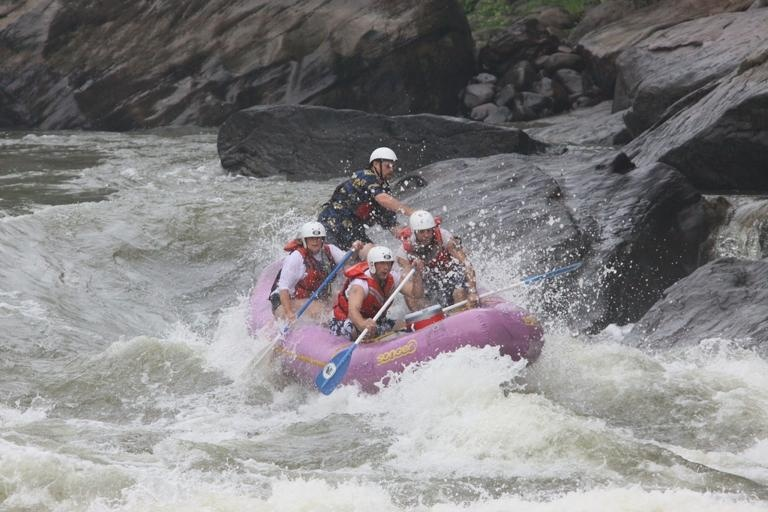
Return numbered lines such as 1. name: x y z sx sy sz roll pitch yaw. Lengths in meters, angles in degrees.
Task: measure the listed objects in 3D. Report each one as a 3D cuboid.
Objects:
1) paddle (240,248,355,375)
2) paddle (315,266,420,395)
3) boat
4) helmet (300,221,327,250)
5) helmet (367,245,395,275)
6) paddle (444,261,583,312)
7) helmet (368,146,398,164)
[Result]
1. paddle: -1.572 1.155 24.162 0.275 0.506 3.354 4 45 51
2. paddle: -0.243 1.465 23.402 3.440 0.139 0.633 -44 65 -13
3. boat: -0.441 1.134 23.295 4.052 0.870 2.269 8 32 42
4. helmet: -1.371 -0.387 24.475 0.452 0.517 0.556 2 4 -15
5. helmet: -0.093 0.056 23.810 0.439 0.406 0.540 0 0 -26
6. paddle: 2.572 0.619 24.190 2.517 0.270 0.138 -20 9 11
7. helmet: -0.002 -2.043 25.258 0.494 0.243 0.344 -2 -1 12
